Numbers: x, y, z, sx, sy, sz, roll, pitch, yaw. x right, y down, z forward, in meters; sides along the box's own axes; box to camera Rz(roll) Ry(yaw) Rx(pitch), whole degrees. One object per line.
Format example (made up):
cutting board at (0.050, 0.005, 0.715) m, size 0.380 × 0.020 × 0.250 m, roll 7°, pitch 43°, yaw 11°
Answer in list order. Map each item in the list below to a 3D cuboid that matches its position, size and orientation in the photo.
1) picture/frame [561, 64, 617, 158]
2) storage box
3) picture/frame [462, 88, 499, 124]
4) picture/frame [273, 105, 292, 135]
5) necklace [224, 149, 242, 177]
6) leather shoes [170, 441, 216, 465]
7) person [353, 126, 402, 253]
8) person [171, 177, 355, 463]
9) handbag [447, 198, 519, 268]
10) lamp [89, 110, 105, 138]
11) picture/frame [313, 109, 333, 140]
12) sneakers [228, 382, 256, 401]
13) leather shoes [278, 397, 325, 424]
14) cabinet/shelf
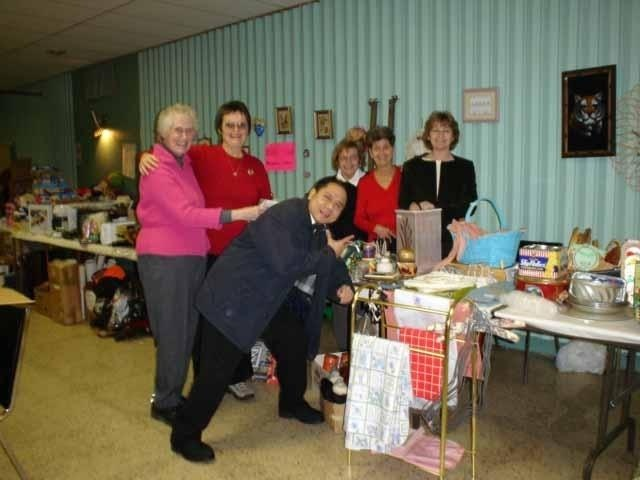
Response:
picture/frame at (2.330, -1.103, 4.760) m, size 0.412 × 0.840 × 0.063 m, roll -1°, pitch -13°, yaw 27°
storage box at (-2.905, 0.624, 6.101) m, size 0.570 × 0.610 × 0.232 m, roll 10°, pitch 14°, yaw 40°
picture/frame at (1.530, -1.279, 5.171) m, size 0.308 × 0.343 × 0.035 m, roll 4°, pitch 10°, yaw 30°
picture/frame at (-0.438, -1.454, 6.593) m, size 0.329 × 0.424 × 0.055 m, roll 5°, pitch 9°, yaw 35°
necklace at (-0.631, -0.556, 4.038) m, size 0.123 × 0.178 × 0.041 m, roll 2°, pitch -15°, yaw -39°
leather shoes at (-0.803, 1.376, 3.556) m, size 0.235 × 0.102 × 0.129 m, roll -4°, pitch -7°, yaw 31°
person at (0.483, -0.438, 4.693) m, size 0.413 × 1.013 × 0.673 m, roll 1°, pitch 14°, yaw 8°
person at (-0.428, 0.522, 3.623) m, size 1.195 × 1.908 × 0.856 m, roll -1°, pitch 9°, yaw -5°
handbag at (1.169, -0.031, 3.662) m, size 0.488 × 0.520 × 0.360 m, roll -2°, pitch -3°, yaw 34°
lamp at (-3.785, -1.966, 9.317) m, size 0.129 × 0.485 × 0.488 m, roll -10°, pitch 16°, yaw -30°
picture/frame at (0.048, -1.316, 6.212) m, size 0.316 × 0.412 × 0.039 m, roll 4°, pitch 7°, yaw 40°
sneakers at (-0.599, 1.207, 4.313) m, size 0.119 × 0.043 × 0.171 m, roll -3°, pitch 11°, yaw -26°
leather shoes at (-0.112, 1.251, 4.011) m, size 0.347 × 0.266 × 0.141 m, roll 0°, pitch 0°, yaw 13°
cabinet/shelf at (0.551, 0.872, 3.251) m, size 0.806 × 1.246 × 0.732 m, roll -1°, pitch 14°, yaw 3°
